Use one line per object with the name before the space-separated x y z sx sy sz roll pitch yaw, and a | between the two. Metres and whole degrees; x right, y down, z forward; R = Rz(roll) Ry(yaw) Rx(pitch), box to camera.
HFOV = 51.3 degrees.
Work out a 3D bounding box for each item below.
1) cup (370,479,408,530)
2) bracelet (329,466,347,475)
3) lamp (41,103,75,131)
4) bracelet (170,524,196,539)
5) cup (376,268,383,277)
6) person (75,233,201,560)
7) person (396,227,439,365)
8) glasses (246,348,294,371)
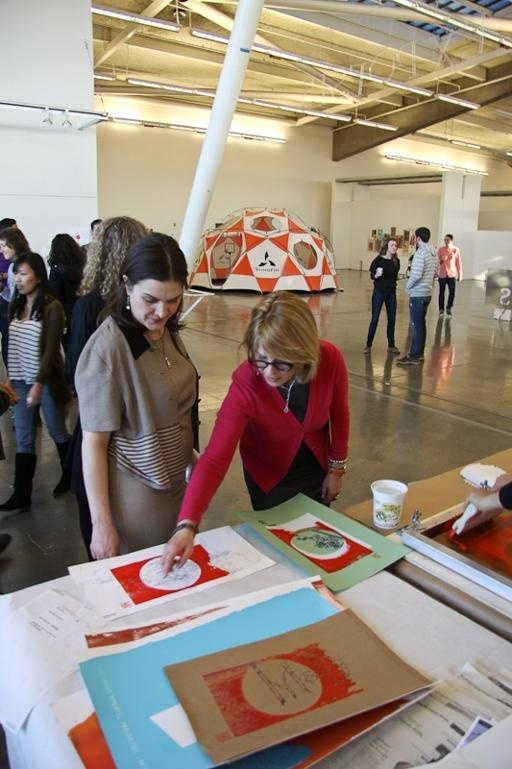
cup | 0.328 0.307 1.412 0.117 0.119 0.118 0 7 0
bracelet | 0.300 0.323 1.966 0.031 0.026 0.041 0 -4 -2
lamp | -2.416 -3.270 6.503 0.367 0.176 0.500 -4 11 -19
bracelet | -0.171 0.334 1.225 0.044 0.028 0.045 -11 -34 21
cup | 1.627 -1.466 7.010 0.078 0.125 0.082 -1 10 0
person | -0.312 0.036 1.552 0.417 0.919 0.347 -7 12 -31
person | 2.082 -1.133 6.828 0.391 1.687 0.955 3 11 18
glasses | 0.040 -0.059 1.471 0.120 0.059 0.077 1 10 7
